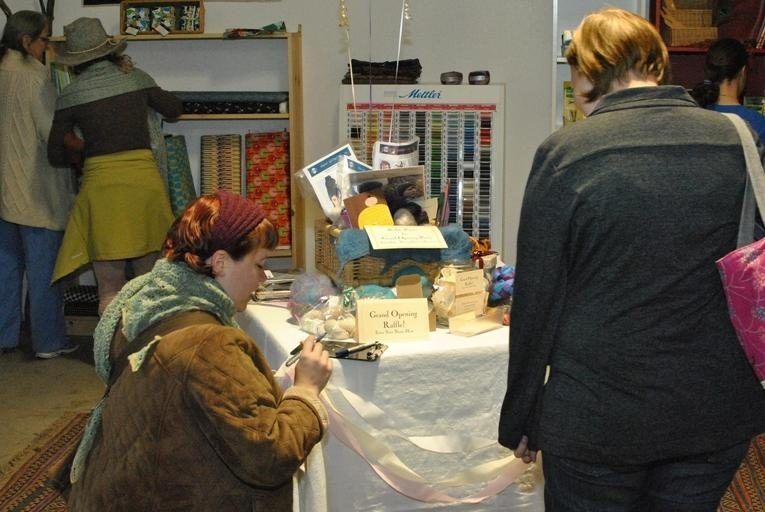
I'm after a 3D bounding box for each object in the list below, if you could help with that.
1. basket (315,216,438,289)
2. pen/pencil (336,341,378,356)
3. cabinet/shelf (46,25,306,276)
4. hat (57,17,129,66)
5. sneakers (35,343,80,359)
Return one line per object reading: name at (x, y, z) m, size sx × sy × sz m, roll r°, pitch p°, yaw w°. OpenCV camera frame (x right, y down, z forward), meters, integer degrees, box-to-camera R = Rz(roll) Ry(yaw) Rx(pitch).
basket at (-0.063, -0.005, 3.173) m, size 0.475 × 0.194 × 0.477 m, roll 19°, pitch 12°, yaw 34°
pen/pencil at (-0.097, 0.352, 2.653) m, size 0.025 × 0.024 × 0.235 m, roll -28°, pitch -14°, yaw 36°
cabinet/shelf at (-1.409, -0.747, 4.747) m, size 1.996 × 2.168 × 0.650 m, roll -2°, pitch 5°, yaw -6°
hat at (-1.967, -1.383, 4.787) m, size 0.430 × 0.191 × 0.461 m, roll -38°, pitch 32°, yaw -17°
sneakers at (-2.367, 0.710, 5.192) m, size 0.268 × 0.108 × 0.093 m, roll -7°, pitch 6°, yaw -16°
